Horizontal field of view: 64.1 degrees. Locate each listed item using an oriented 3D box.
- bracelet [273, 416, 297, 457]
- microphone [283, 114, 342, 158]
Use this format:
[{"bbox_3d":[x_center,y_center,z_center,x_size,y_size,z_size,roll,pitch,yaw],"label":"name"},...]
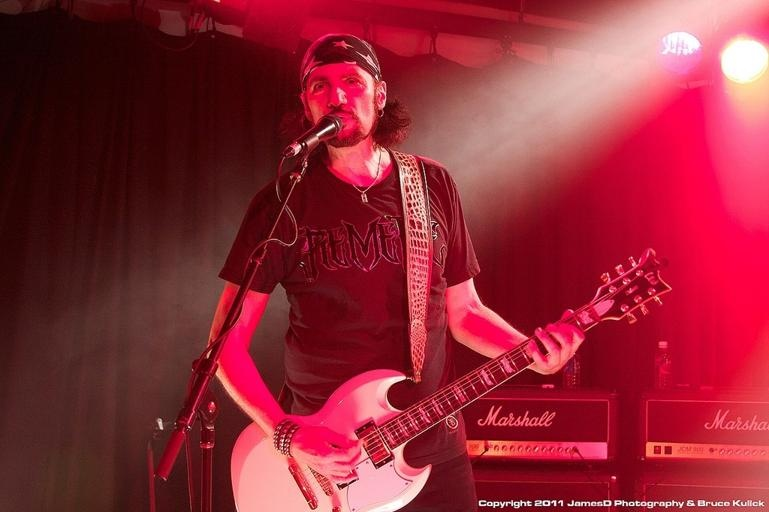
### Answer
[{"bbox_3d":[-0.517,0.951,3.244,0.057,0.170,0.154,12,-21,-5],"label":"bracelet"},{"bbox_3d":[-0.348,-0.594,3.146,0.128,0.457,0.142,21,-49,37],"label":"microphone"}]
